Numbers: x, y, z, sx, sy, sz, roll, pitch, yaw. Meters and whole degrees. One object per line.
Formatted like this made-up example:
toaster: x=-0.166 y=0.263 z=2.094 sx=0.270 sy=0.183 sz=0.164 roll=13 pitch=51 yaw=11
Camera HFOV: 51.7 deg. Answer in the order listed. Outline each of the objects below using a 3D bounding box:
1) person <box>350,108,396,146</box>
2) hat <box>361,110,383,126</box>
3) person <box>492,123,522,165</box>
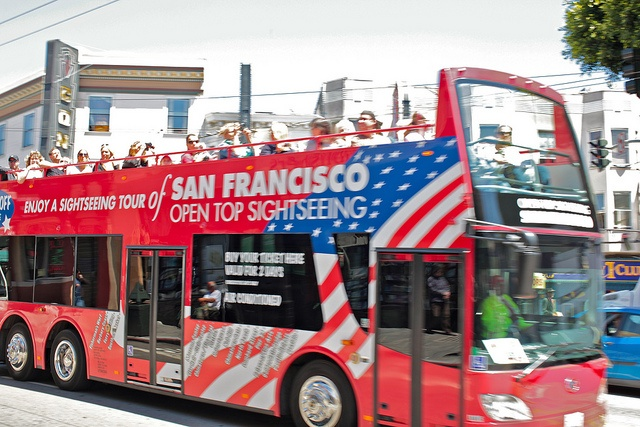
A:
person: x=0.857 y=-1.385 z=10.830 sx=0.552 sy=0.562 sz=0.916 roll=1 pitch=5 yaw=-33
hat: x=0.882 y=-1.555 z=10.870 sx=0.280 sy=0.297 sz=0.168 roll=-9 pitch=24 yaw=38
person: x=2.652 y=-0.999 z=9.531 sx=0.541 sy=0.650 sz=0.263 roll=4 pitch=-8 yaw=-27
